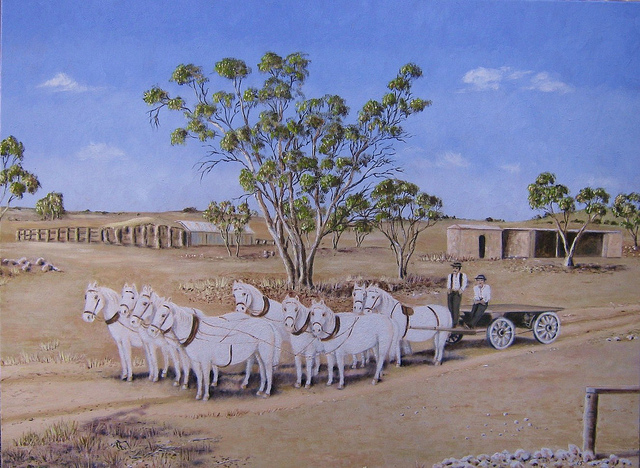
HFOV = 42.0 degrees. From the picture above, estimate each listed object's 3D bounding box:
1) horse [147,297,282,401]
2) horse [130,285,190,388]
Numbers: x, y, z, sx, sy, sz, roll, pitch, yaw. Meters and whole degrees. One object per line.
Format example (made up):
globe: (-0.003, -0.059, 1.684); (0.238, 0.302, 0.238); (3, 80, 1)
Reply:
horse: (-1.924, 2.238, 16.480); (2.792, 1.993, 0.802); (3, 12, -23)
horse: (-3.056, 1.811, 16.100); (1.241, 1.025, 0.288); (-11, 6, 39)
